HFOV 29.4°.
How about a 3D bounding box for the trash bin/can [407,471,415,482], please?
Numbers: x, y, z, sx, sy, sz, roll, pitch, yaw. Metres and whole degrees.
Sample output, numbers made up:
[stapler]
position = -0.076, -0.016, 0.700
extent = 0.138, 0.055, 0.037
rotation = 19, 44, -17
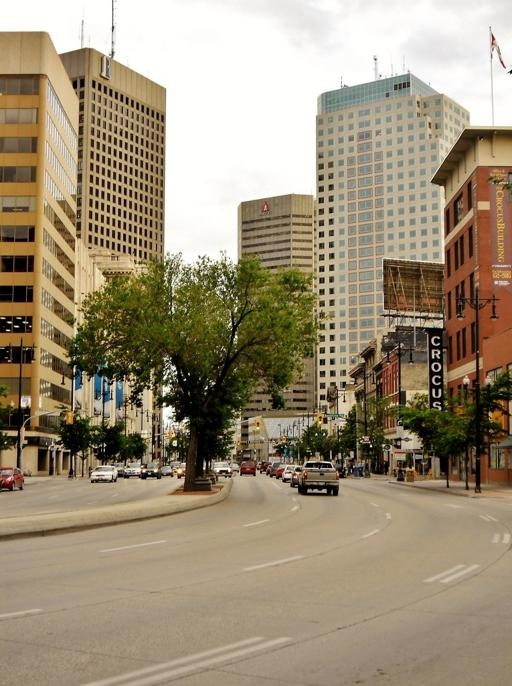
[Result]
[trash bin/can]
position = 11.134, 9.533, 70.140
extent = 0.522, 1.195, 0.597
rotation = -1, 0, 1
